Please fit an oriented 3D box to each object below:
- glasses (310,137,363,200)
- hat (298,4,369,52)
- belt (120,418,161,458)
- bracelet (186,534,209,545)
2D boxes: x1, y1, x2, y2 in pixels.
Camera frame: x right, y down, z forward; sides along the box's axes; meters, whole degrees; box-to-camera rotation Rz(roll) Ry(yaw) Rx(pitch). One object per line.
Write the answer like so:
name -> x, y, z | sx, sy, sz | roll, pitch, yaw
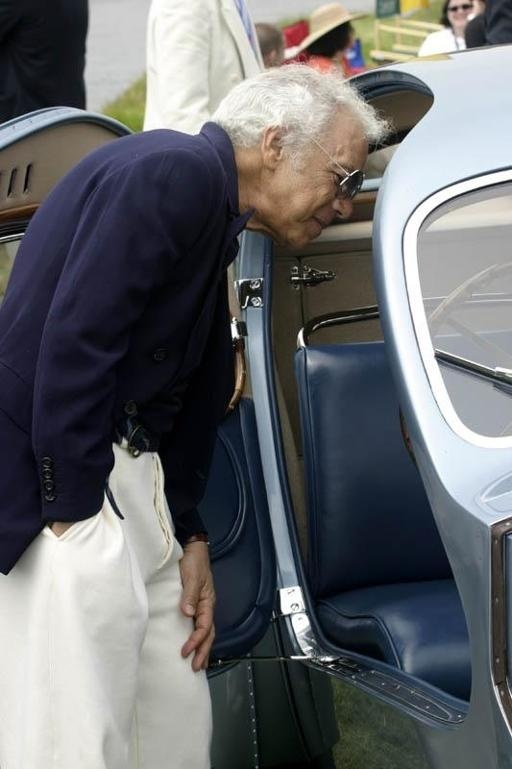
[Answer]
glasses -> 0.123, -0.346, 1.458 | 0.028, 0.075, 0.078 | -36, 83, 15
hat -> 0.358, -1.679, 4.231 | 0.266, 0.306, 0.127 | -19, 109, 29
belt -> -0.182, 0.083, 1.399 | 0.016, 0.055, 0.054 | 6, 104, 33
bracelet -> -0.113, 0.294, 1.702 | 0.026, 0.034, 0.015 | -3, 92, -1
